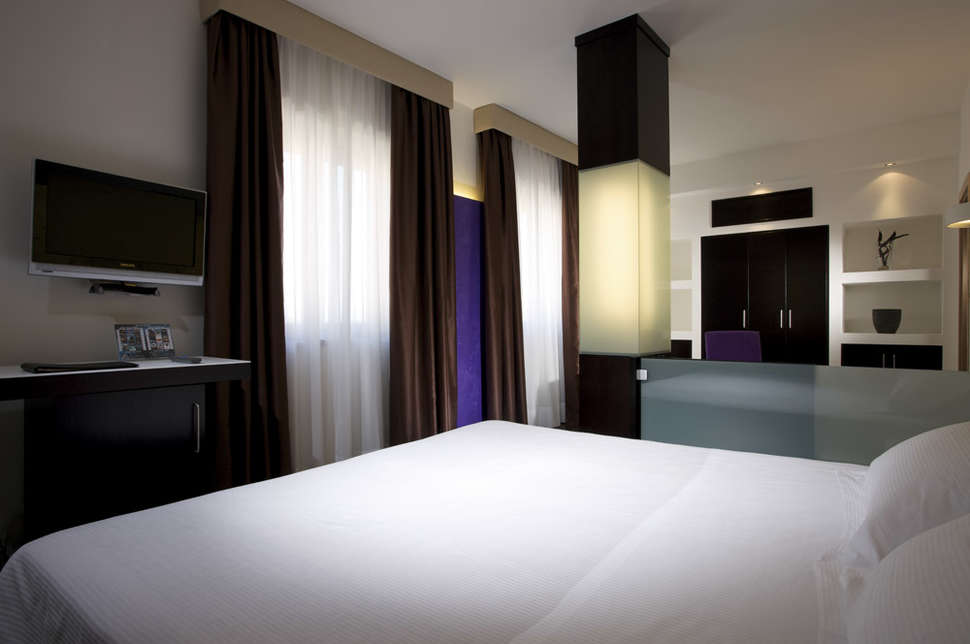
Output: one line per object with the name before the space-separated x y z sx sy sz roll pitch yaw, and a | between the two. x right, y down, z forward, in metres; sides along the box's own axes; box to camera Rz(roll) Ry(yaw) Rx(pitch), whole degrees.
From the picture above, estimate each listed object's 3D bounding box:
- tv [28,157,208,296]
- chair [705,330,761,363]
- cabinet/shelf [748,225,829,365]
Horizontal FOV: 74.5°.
tv | -2.072 -0.517 3.535 0.773 0.600 0.078 0 6 -42
chair | 1.453 0.146 3.722 0.204 0.142 0.213 4 10 18
cabinet/shelf | 1.682 -0.145 3.539 0.398 0.745 0.109 0 2 29
